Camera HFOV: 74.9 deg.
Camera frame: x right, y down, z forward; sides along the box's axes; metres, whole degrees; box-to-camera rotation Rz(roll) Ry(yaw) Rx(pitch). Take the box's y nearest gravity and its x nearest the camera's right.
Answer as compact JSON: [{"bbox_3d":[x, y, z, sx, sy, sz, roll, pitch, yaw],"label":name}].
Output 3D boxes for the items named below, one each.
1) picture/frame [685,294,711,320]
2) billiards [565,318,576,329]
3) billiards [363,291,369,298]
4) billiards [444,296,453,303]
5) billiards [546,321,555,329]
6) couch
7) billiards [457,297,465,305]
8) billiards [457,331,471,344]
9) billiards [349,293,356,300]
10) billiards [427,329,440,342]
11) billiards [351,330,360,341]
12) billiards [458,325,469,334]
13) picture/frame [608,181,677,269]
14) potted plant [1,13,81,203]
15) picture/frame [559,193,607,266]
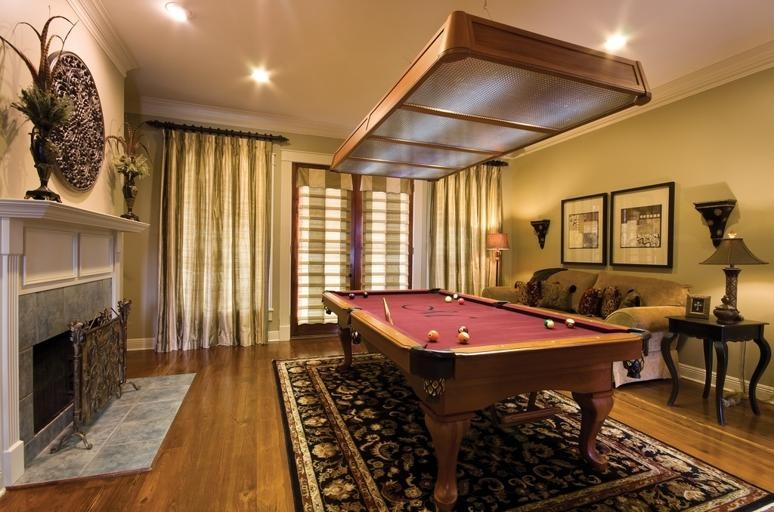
[{"bbox_3d":[3.251,0.537,5.294,0.048,0.275,0.242,15,-10,-35],"label":"picture/frame"},{"bbox_3d":[1.660,0.604,4.564,0.087,0.071,0.114,3,9,12],"label":"billiards"},{"bbox_3d":[-0.248,0.457,6.043,0.059,0.066,0.059,3,-4,-19],"label":"billiards"},{"bbox_3d":[0.711,0.493,5.802,0.065,0.059,0.063,1,4,-18],"label":"billiards"},{"bbox_3d":[1.481,0.621,4.596,0.065,0.060,0.079,0,-20,-3],"label":"billiards"},{"bbox_3d":[2.389,0.781,6.571,1.233,1.180,2.543,1,2,-28],"label":"couch"},{"bbox_3d":[0.837,0.504,5.659,0.061,0.067,0.060,7,-14,-15],"label":"billiards"},{"bbox_3d":[0.632,0.660,4.115,0.103,0.097,0.079,1,9,-5],"label":"billiards"},{"bbox_3d":[-0.412,0.464,5.977,0.058,0.064,0.056,5,-8,-34],"label":"billiards"},{"bbox_3d":[0.372,0.651,4.160,0.088,0.092,0.083,1,-14,-25],"label":"billiards"},{"bbox_3d":[-0.302,0.788,4.932,0.070,0.106,0.115,1,-8,-10],"label":"billiards"},{"bbox_3d":[0.631,0.602,4.175,0.069,0.036,0.068,0,-2,7],"label":"billiards"},{"bbox_3d":[3.211,-0.380,6.380,0.178,1.083,0.884,-2,10,-23],"label":"picture/frame"},{"bbox_3d":[-2.986,-1.318,4.350,0.475,1.681,0.907,-4,10,-31],"label":"potted plant"},{"bbox_3d":[2.758,-0.373,7.051,0.058,1.241,1.005,6,-6,-21],"label":"picture/frame"}]
